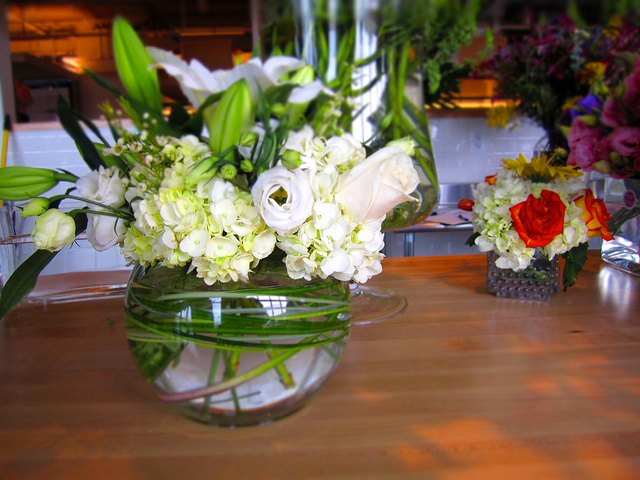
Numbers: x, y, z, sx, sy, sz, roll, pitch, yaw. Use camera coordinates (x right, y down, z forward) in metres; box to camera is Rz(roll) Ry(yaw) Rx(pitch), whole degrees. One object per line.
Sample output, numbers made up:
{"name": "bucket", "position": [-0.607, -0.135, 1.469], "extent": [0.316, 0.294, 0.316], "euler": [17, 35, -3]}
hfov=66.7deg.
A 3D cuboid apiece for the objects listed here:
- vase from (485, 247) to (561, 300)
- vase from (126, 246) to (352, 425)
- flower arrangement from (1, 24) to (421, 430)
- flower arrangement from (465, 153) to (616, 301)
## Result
{"name": "vase", "position": [0.308, 0.054, 0.750], "extent": [0.090, 0.083, 0.088], "euler": [0, -3, 3]}
{"name": "vase", "position": [-0.077, 0.093, 0.483], "extent": [0.184, 0.132, 0.181], "euler": [2, 4, 30]}
{"name": "flower arrangement", "position": [-0.050, 0.030, 0.547], "extent": [0.399, 0.395, 0.313], "euler": [0, 7, -8]}
{"name": "flower arrangement", "position": [0.327, -0.002, 0.756], "extent": [0.173, 0.182, 0.196], "euler": [7, 11, 14]}
